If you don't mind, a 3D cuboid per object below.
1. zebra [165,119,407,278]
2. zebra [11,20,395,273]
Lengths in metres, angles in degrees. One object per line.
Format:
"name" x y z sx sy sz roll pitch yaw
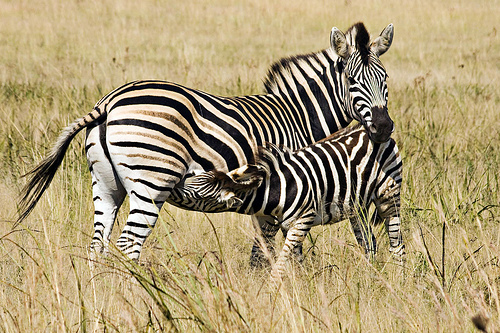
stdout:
"zebra" 0.663 0.516 8.534 2.696 1.676 0.854 -9 11 -21
"zebra" -0.399 -0.042 8.945 5.065 3.509 1.257 -1 6 -28
